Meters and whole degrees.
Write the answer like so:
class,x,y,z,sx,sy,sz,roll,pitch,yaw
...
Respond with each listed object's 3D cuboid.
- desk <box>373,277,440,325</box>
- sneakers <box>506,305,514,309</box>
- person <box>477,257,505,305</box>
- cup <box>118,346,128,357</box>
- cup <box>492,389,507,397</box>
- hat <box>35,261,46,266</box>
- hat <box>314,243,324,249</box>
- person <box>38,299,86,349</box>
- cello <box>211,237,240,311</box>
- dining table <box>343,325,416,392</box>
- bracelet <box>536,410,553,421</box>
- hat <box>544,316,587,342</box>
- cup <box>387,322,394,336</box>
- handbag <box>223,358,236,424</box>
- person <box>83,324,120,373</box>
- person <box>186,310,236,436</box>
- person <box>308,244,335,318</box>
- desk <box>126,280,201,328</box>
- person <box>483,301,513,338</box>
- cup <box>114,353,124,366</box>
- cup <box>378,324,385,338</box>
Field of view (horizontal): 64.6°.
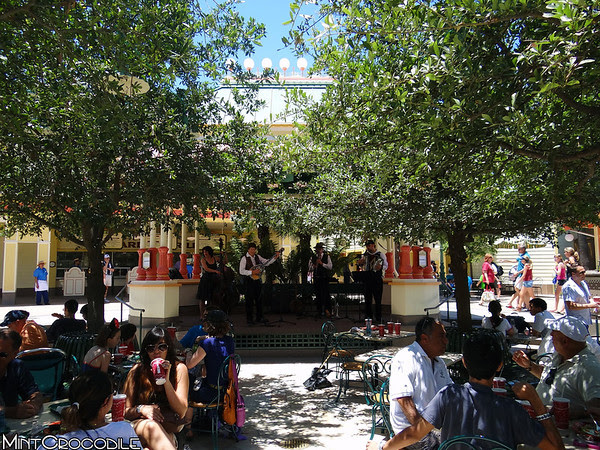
class,x,y,z,sx,sy,sz,roll,pitch,yaw
desk,3.194,2.197,14.186,1.474,1.448,1.429,3,-9,-24
sneakers,8.229,3.177,18.472,0.338,0.146,0.125,-2,-5,30
person,9.339,2.713,23.020,0.880,0.959,2.291,-13,-33,15
cup,-2.641,1.891,7.135,0.172,0.135,0.173,-2,-11,0
cup,1.581,1.321,3.765,0.078,0.060,0.077,-2,-4,0
hat,-12.760,1.871,23.362,0.474,0.134,0.479,-3,-13,-12
hat,0.572,0.605,13.864,0.340,0.119,0.346,0,-1,9
person,-4.316,2.046,8.700,0.685,1.353,0.671,8,4,-31
cello,-1.960,1.283,12.103,0.745,1.831,0.414,1,12,11
dining table,1.447,2.092,8.444,1.349,1.334,1.382,-1,-8,21
bracelet,1.914,1.492,3.714,0.104,0.057,0.186,1,2,37
hat,2.742,1.049,4.865,0.227,0.169,0.317,-1,7,-42
cup,1.619,1.853,8.487,0.173,0.218,0.176,0,-7,0
handbag,-0.895,2.124,6.080,0.181,0.809,0.278,0,2,-10
person,-2.608,1.661,6.230,0.321,0.638,0.868,0,1,-10
person,-1.302,2.007,6.556,0.790,1.803,0.545,6,5,-6
person,0.610,1.551,13.196,0.549,2.148,1.225,0,2,4
desk,-3.999,2.553,13.955,1.746,1.363,1.788,-4,-5,39
person,3.650,1.784,8.788,0.566,0.838,0.540,-5,15,24
cup,-2.573,1.915,6.790,0.139,0.108,0.114,0,0,-11
cup,1.415,1.818,8.200,0.164,0.207,0.167,0,-7,0
